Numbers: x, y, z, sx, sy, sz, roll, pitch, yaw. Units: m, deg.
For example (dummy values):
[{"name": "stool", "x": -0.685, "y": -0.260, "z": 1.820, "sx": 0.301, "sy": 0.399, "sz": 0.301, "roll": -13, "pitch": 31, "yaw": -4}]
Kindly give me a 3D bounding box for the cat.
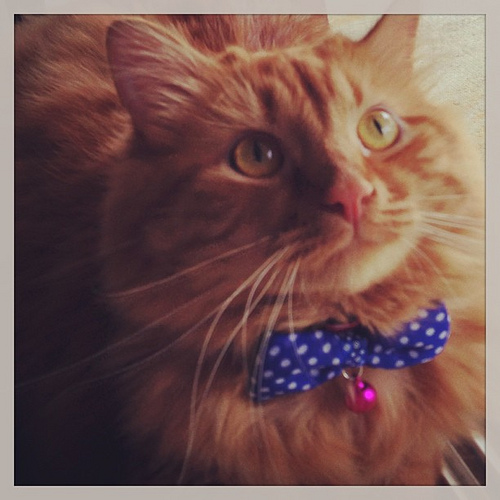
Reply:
[{"name": "cat", "x": -0.017, "y": -0.002, "z": 1.221, "sx": 0.593, "sy": 1.123, "sz": 0.391, "roll": -9, "pitch": 24, "yaw": -18}]
